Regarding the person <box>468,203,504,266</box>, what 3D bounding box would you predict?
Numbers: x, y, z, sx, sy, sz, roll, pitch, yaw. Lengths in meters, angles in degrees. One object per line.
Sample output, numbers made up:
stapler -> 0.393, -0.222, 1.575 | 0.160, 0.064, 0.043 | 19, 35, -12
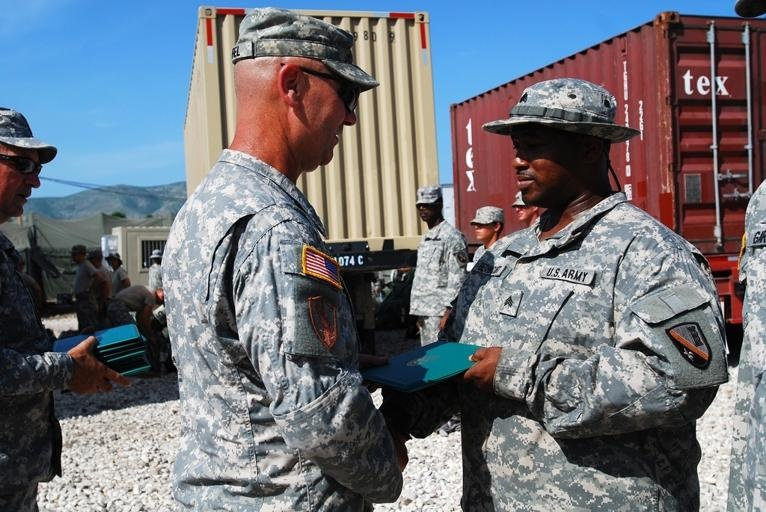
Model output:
person -> 1.110, -0.311, 9.004 | 0.393, 1.002, 0.458 | 0, -5, -5

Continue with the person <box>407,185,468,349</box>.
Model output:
person -> 0.518, 0.121, 7.849 | 0.506, 1.578, 0.520 | 3, -3, 6
